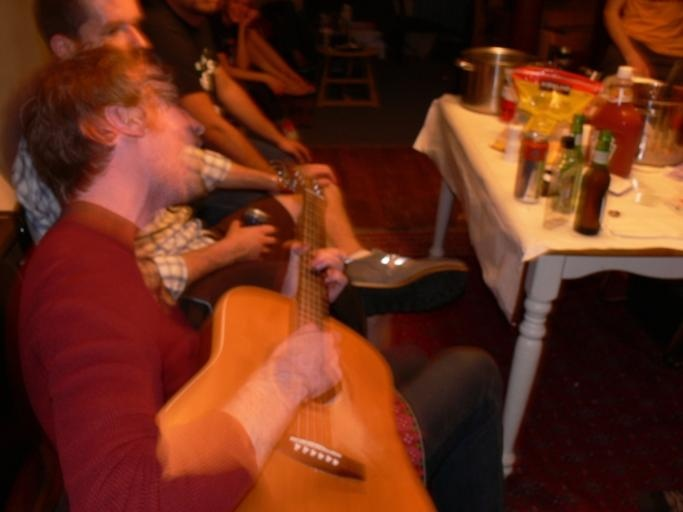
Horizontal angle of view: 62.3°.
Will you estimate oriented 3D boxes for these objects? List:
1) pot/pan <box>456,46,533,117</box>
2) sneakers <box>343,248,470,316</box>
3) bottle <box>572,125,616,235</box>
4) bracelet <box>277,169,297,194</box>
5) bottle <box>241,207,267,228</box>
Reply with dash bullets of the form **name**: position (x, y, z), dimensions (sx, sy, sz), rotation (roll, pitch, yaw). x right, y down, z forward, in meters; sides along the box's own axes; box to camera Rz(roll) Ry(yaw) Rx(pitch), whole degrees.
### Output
- **pot/pan**: position (0.644, -0.832, 2.504), dimensions (0.332, 0.245, 0.322), rotation (-2, 35, -6)
- **sneakers**: position (0.283, 0.140, 2.221), dimensions (0.557, 0.224, 0.227), rotation (-8, 40, 3)
- **bottle**: position (0.728, -0.227, 1.608), dimensions (0.080, 0.302, 0.148), rotation (13, 35, 21)
- **bracelet**: position (-0.219, -0.321, 2.292), dimensions (0.067, 0.028, 0.101), rotation (-4, 64, -10)
- **bottle**: position (-0.326, -0.143, 2.104), dimensions (0.059, 0.078, 0.075), rotation (12, 5, 21)
